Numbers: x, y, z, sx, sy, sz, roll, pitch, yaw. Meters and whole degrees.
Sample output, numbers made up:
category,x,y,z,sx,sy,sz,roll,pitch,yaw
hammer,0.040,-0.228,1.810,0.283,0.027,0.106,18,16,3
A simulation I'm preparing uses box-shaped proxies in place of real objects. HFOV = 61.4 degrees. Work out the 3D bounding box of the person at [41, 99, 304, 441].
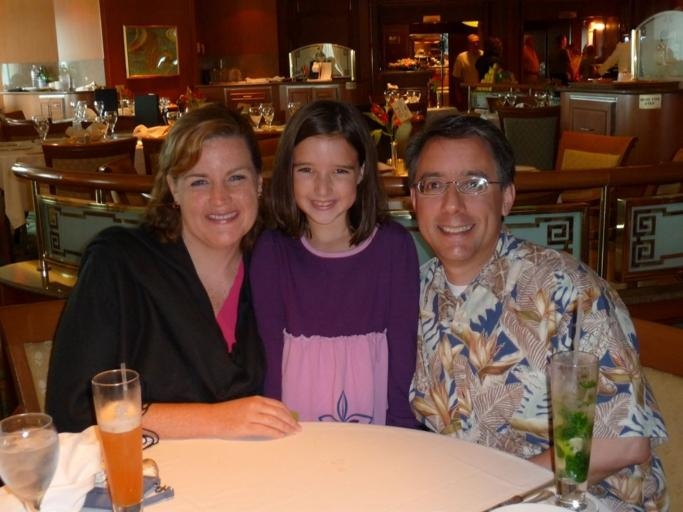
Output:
category,x,y,z,sx,sy,sz,roll,pitch,yaw
person,-0.627,0.004,2.027,0.750,1.057,0.530,-4,14,-14

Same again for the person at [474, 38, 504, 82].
category,x,y,z,sx,sy,sz,roll,pitch,yaw
person,2.894,-3.946,11.397,0.474,0.872,1.595,2,14,14

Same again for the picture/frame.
category,x,y,z,sx,sy,sz,roll,pitch,yaw
picture/frame,-4.105,-4.364,12.209,1.237,1.116,0.088,-14,18,-35

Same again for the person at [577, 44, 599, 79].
category,x,y,z,sx,sy,sz,roll,pitch,yaw
person,5.566,-4.463,13.105,0.367,0.899,2.172,4,14,22

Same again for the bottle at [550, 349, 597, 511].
category,x,y,z,sx,sy,sz,roll,pitch,yaw
bottle,0.490,0.366,1.244,0.092,0.330,0.153,4,14,21

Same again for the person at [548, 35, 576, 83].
category,x,y,z,sx,sy,sz,roll,pitch,yaw
person,5.500,-4.980,14.453,0.568,1.164,1.541,4,14,19

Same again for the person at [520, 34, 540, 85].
category,x,y,z,sx,sy,sz,roll,pitch,yaw
person,4.610,-4.840,14.149,0.376,1.109,0.871,2,14,13
